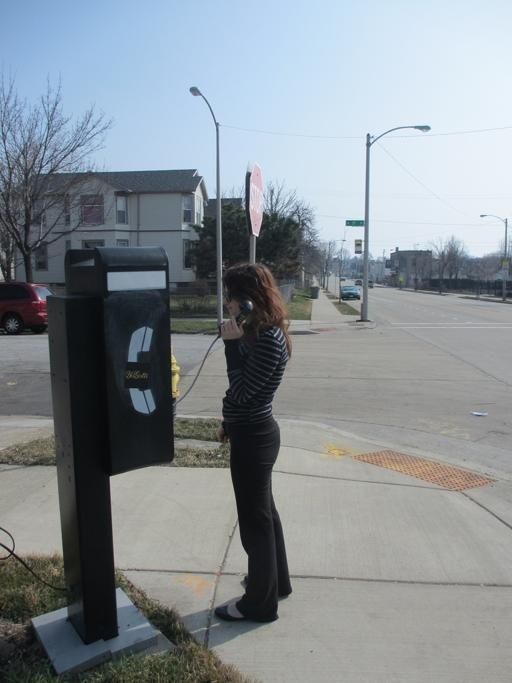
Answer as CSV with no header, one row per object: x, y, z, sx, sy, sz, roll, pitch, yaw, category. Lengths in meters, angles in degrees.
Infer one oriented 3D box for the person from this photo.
-0.014,0.483,3.298,0.319,1.678,0.319,2,4,-1,person

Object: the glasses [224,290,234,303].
-0.135,-0.217,3.380,0.040,0.069,0.061,-1,4,-4,glasses

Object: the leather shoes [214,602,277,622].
-0.053,1.284,3.308,0.282,0.100,0.118,9,-5,-1,leather shoes

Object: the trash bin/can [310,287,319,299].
4.611,-3.778,54.218,0.829,1.149,0.967,-2,-7,1,trash bin/can

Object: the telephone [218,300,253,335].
-0.079,-0.122,3.156,0.070,0.122,0.288,25,10,-3,telephone
